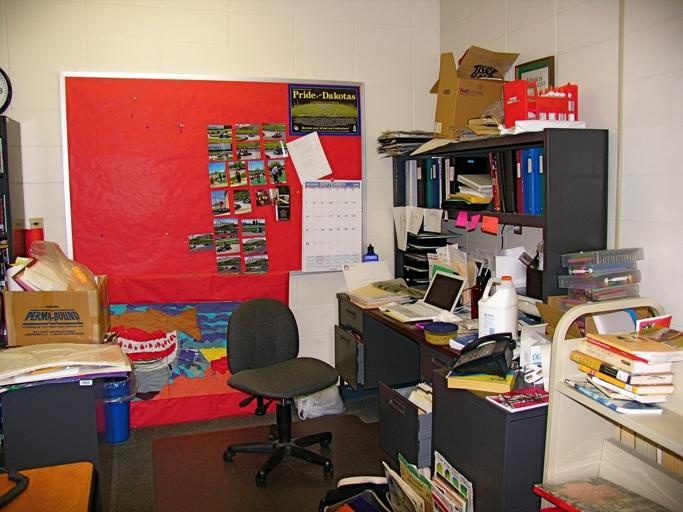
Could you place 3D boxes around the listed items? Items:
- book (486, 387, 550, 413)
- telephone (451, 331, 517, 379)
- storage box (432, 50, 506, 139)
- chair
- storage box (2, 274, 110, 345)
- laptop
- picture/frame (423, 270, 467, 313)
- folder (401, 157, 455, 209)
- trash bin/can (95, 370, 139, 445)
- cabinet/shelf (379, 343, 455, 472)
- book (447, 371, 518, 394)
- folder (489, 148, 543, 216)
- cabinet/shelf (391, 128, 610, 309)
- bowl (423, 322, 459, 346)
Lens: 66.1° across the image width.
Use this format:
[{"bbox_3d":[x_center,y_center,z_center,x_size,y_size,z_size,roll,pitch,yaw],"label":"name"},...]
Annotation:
[{"bbox_3d":[0.741,0.593,2.184,0.262,0.037,0.131,-5,9,-18],"label":"book"},{"bbox_3d":[0.636,0.438,2.390,0.220,0.103,0.207,-4,10,22],"label":"telephone"},{"bbox_3d":[0.833,-1.030,3.368,0.417,0.500,0.387,-1,15,-14],"label":"storage box"},{"bbox_3d":[-0.333,0.784,3.235,0.698,0.962,0.692,-2,6,-34],"label":"chair"},{"bbox_3d":[-1.419,0.255,2.616,0.338,0.202,0.328,-1,1,-14],"label":"storage box"},{"bbox_3d":[0.537,0.256,3.262,0.367,0.213,0.334,1,5,-22],"label":"laptop"},{"bbox_3d":[0.632,0.186,3.273,0.205,0.270,0.175,22,-28,18],"label":"picture/frame"},{"bbox_3d":[0.612,-0.522,3.688,0.243,0.395,0.436,1,1,-14],"label":"folder"},{"bbox_3d":[-1.437,1.013,3.457,0.292,0.397,0.263,-9,-13,13],"label":"trash bin/can"},{"bbox_3d":[0.458,0.823,2.991,0.413,0.588,0.487,2,4,-8],"label":"cabinet/shelf"},{"bbox_3d":[0.601,0.559,2.294,0.280,0.083,0.125,0,9,16],"label":"book"},{"bbox_3d":[0.938,-0.437,2.967,0.326,0.423,0.427,-3,13,3],"label":"folder"},{"bbox_3d":[0.937,-0.228,3.051,0.375,0.926,1.140,-5,10,-24],"label":"cabinet/shelf"},{"bbox_3d":[0.532,0.404,2.824,0.128,0.051,0.126,0,6,0],"label":"bowl"}]
